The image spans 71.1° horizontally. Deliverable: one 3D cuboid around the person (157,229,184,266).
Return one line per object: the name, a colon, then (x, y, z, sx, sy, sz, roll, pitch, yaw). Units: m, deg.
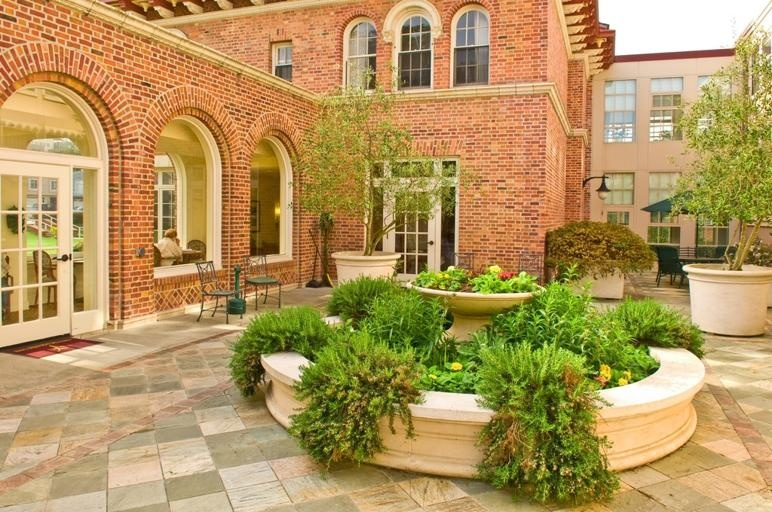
person: (-4.982, -0.124, 12.357, 0.713, 0.917, 0.648, 2, 13, -35)

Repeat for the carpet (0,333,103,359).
carpet: (-5.131, 1.415, 8.311, 0.871, 0.124, 1.129, 8, 15, 30)

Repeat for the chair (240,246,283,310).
chair: (-2.720, 0.573, 11.783, 0.735, 1.095, 0.750, -1, 5, -27)

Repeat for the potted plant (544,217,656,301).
potted plant: (5.004, 0.199, 12.977, 2.429, 1.710, 1.846, 8, 16, 29)

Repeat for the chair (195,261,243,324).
chair: (-3.353, 0.711, 10.847, 0.771, 1.169, 0.705, 3, 5, 14)
